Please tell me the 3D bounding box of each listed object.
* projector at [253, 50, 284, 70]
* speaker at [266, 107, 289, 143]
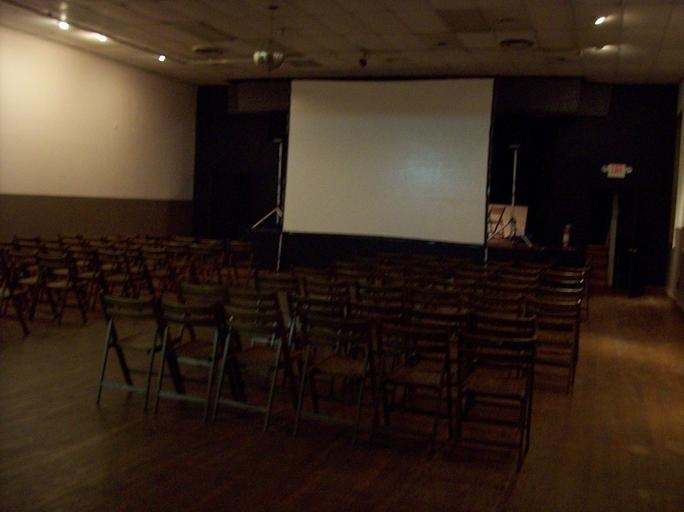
[{"bbox_3d":[-1.340,-3.585,9.318,0.559,0.349,0.396,8,9,38],"label":"projector"},{"bbox_3d":[-1.761,-3.645,14.474,0.392,0.822,0.742,-4,9,-41],"label":"speaker"}]
